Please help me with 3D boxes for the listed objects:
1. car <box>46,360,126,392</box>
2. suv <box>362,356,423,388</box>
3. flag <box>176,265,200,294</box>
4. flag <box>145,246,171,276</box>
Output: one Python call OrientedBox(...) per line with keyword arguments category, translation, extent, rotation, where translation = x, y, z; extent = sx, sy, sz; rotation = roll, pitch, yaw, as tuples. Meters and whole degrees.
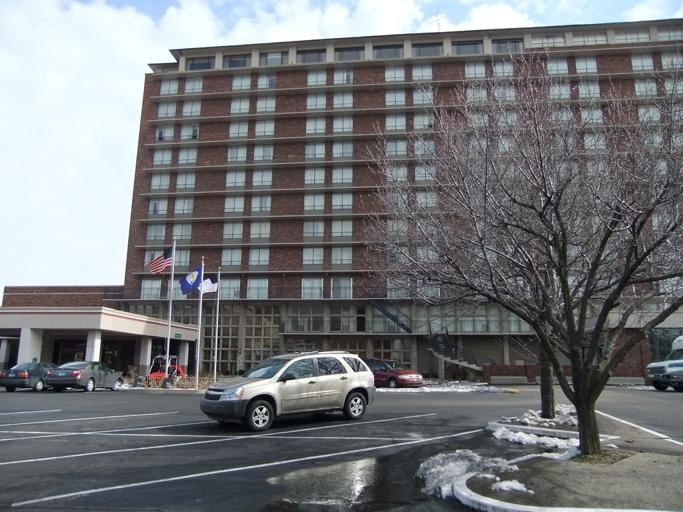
OrientedBox(category="car", translation=(-12.381, 5.925, 27.026), extent=(1.633, 0.819, 3.130), rotation=(-2, -5, 21))
OrientedBox(category="suv", translation=(3.284, 6.798, 31.750), extent=(3.644, 1.265, 1.971), rotation=(-7, -11, 28))
OrientedBox(category="flag", translation=(-9.129, 1.581, 33.389), extent=(1.115, 1.395, 2.158), rotation=(1, -10, -17))
OrientedBox(category="flag", translation=(-10.754, 0.309, 32.879), extent=(1.175, 1.580, 1.314), rotation=(1, -11, -15))
